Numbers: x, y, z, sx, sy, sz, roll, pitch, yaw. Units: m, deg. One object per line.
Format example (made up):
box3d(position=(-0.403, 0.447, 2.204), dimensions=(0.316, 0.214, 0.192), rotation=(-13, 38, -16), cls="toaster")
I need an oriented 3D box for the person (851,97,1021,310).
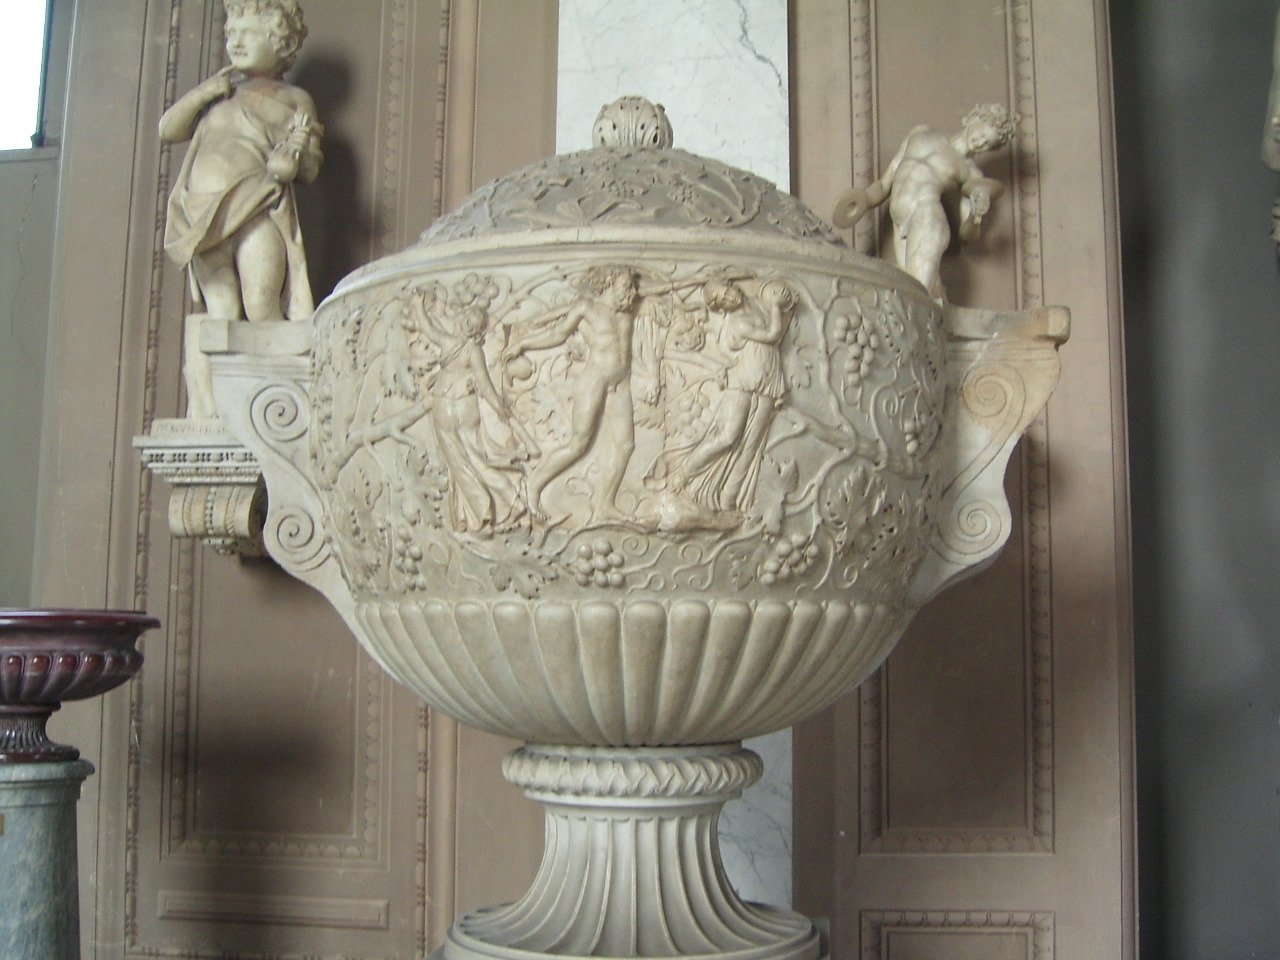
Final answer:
box3d(position=(0.761, -0.654, 7.184), dimensions=(0.458, 0.848, 0.229), rotation=(5, -30, 9), cls="person")
